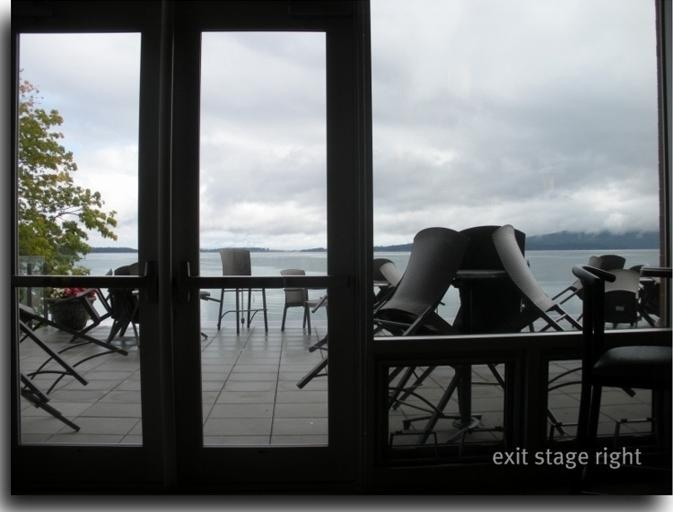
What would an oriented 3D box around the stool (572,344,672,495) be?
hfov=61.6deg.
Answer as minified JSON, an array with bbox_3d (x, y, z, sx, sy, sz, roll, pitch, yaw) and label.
[{"bbox_3d":[1.483,0.812,2.880,0.487,0.876,0.611,-1,-1,22],"label":"stool"}]

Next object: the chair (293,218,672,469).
[{"bbox_3d":[0.687,0.246,2.734,1.368,0.573,1.265,3,-17,-2],"label":"chair"}]

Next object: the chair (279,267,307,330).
[{"bbox_3d":[-0.215,0.218,3.075,0.216,0.369,0.267,1,2,-7],"label":"chair"}]

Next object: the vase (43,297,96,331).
[{"bbox_3d":[-1.508,0.315,3.185,0.236,0.180,0.229,1,5,-2],"label":"vase"}]
